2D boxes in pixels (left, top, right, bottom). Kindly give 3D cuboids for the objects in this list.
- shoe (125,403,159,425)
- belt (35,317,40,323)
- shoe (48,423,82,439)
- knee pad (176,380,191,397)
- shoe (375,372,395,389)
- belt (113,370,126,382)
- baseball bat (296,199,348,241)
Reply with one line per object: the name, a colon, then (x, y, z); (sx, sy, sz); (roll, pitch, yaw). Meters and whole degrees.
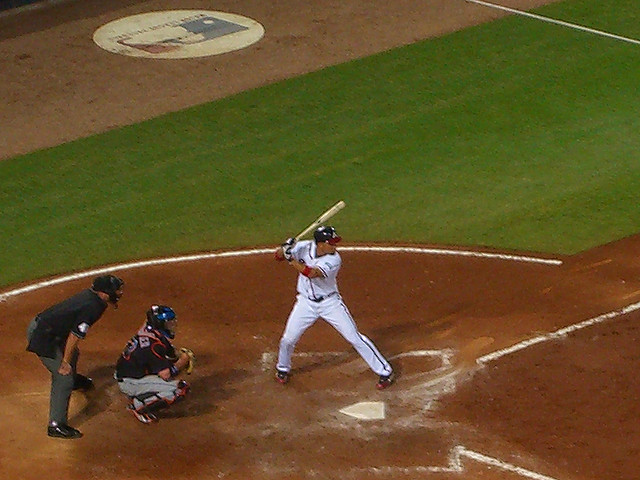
shoe: (-2.798, 2.741, 18.059); (0.481, 0.280, 0.109); (31, 52, -2)
belt: (-4.339, 1.217, 17.677); (0.093, 0.021, 0.077); (1, 84, 22)
shoe: (-3.974, 2.922, 17.900); (0.573, 0.221, 0.194); (1, 24, -7)
knee pad: (-2.157, 2.313, 18.122); (0.193, 0.083, 0.241); (2, 17, 3)
shoe: (1.044, 2.264, 18.563); (0.377, 0.158, 0.135); (-43, 39, -5)
belt: (-3.130, 2.126, 18.044); (0.244, 0.203, 0.056); (4, 16, 10)
baseball bat: (0.039, -0.336, 20.452); (1.163, 0.167, 0.183); (-36, 85, 7)
